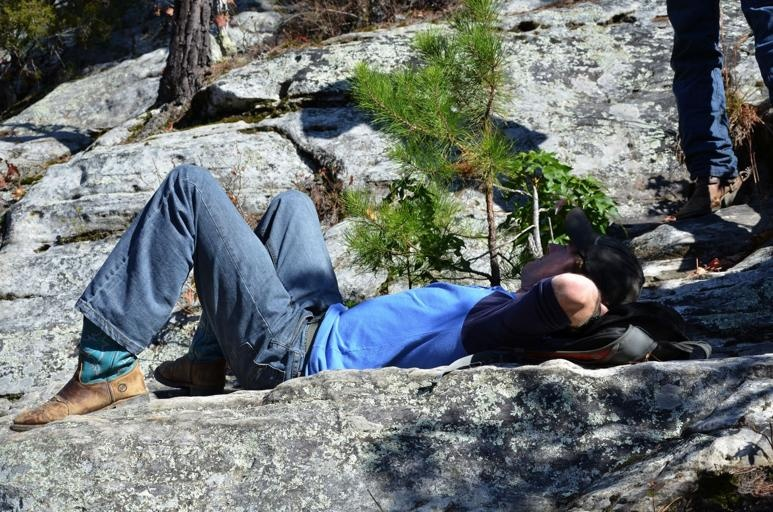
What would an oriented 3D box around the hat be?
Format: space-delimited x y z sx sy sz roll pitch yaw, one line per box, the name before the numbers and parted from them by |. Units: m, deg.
hat | 1.571 -0.005 8.832 0.381 0.727 0.481 -18 6 39
